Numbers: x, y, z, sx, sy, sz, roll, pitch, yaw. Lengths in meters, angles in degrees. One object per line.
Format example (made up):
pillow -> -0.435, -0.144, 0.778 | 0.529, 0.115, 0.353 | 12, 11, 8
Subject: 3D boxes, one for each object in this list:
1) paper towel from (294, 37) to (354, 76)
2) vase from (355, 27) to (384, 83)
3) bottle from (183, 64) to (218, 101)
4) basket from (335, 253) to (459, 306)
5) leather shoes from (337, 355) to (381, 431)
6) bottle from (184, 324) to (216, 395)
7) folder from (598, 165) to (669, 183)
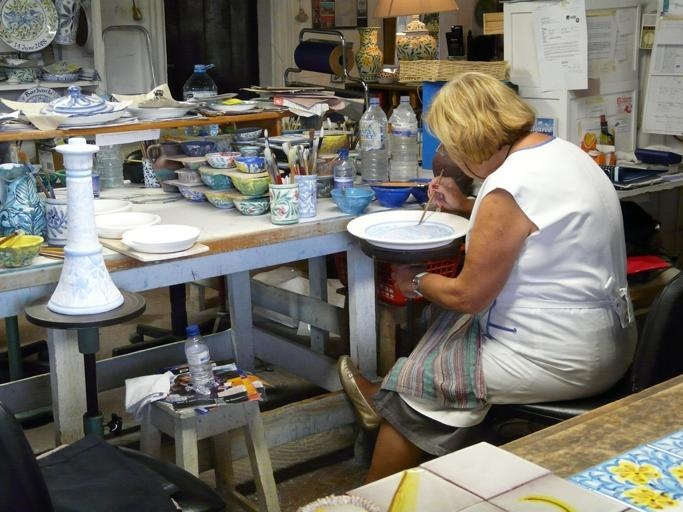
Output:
paper towel -> -0.177, -1.091, 3.079 | 0.395, 0.219, 0.193 | 11, 33, 25
vase -> 0.255, -1.627, 4.484 | 0.277, 0.414, 0.252 | -15, 30, -18
bottle -> -0.753, -0.900, 2.956 | 0.176, 0.239, 0.141 | -8, 32, -20
basket -> 0.238, 0.103, 2.532 | 0.299, 0.202, 0.432 | -10, 16, -40
leather shoes -> 0.063, 0.528, 2.180 | 0.154, 0.328, 0.108 | -19, -27, 10
bottle -> -0.474, 0.315, 1.831 | 0.080, 0.199, 0.253 | -8, 18, -15
folder -> 1.405, -0.394, 2.684 | 0.255, 0.067, 0.223 | -5, 14, -22
